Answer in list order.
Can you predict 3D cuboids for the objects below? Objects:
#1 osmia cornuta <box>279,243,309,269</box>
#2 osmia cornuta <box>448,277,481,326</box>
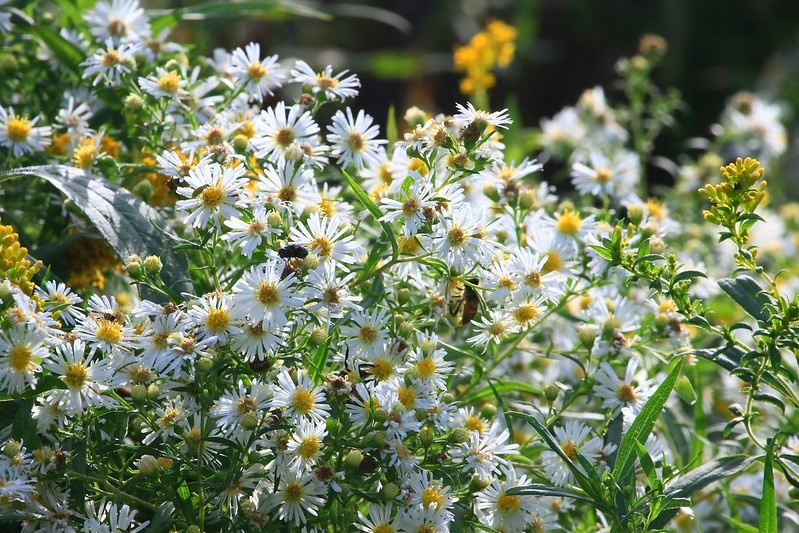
[{"bbox_3d":[-0.230,-0.024,2.465,0.065,0.040,0.059,16,35,-7],"label":"osmia cornuta"},{"bbox_3d":[0.140,0.082,2.596,0.068,0.108,0.028,20,-16,-33],"label":"osmia cornuta"}]
